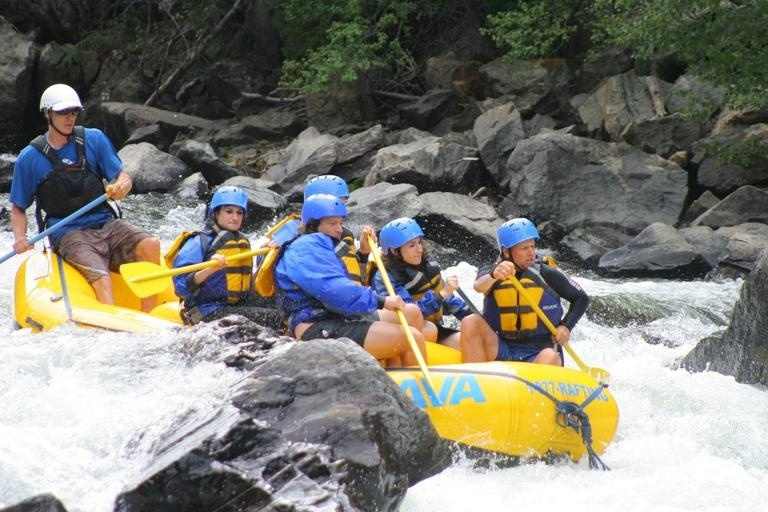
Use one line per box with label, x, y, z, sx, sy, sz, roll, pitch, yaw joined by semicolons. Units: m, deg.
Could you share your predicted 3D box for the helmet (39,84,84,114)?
helmet;-4.133;-2.001;11.410;0.356;0.242;0.463;-4;2;-42
